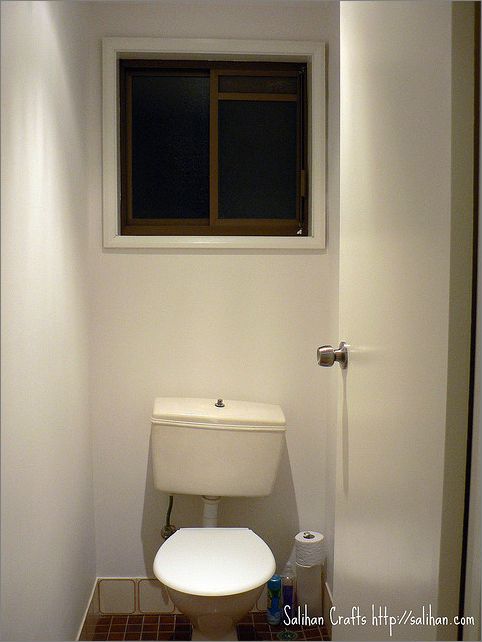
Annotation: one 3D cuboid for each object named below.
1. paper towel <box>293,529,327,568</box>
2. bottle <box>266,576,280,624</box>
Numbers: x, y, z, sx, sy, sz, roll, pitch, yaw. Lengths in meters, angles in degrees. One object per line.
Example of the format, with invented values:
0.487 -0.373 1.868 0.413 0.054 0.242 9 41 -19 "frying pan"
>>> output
0.230 0.753 1.972 0.082 0.134 0.100 1 3 9 "paper towel"
0.111 0.931 1.927 0.049 0.166 0.063 0 10 1 "bottle"
